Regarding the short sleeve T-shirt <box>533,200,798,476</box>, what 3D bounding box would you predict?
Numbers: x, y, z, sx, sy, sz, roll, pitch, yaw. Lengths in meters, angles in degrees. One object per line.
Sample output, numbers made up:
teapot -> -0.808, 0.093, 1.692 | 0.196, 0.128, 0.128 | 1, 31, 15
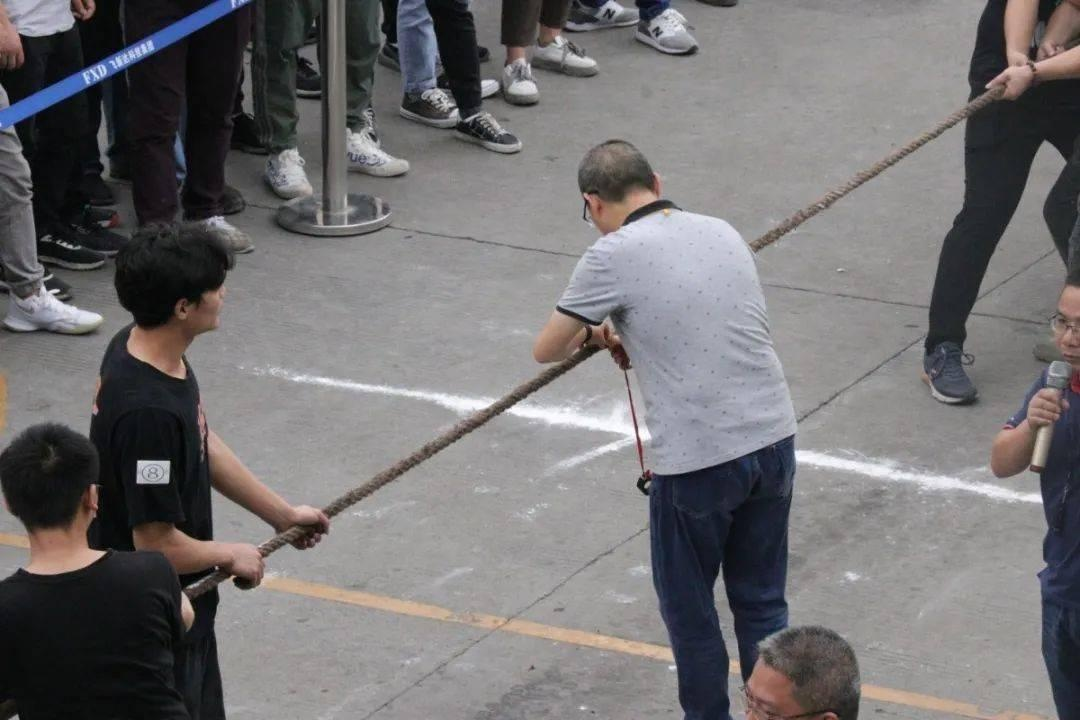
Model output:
short sleeve T-shirt -> 0.591, -0.058, 6.582 | 0.778, 0.980, 0.687 | -13, 33, -24
